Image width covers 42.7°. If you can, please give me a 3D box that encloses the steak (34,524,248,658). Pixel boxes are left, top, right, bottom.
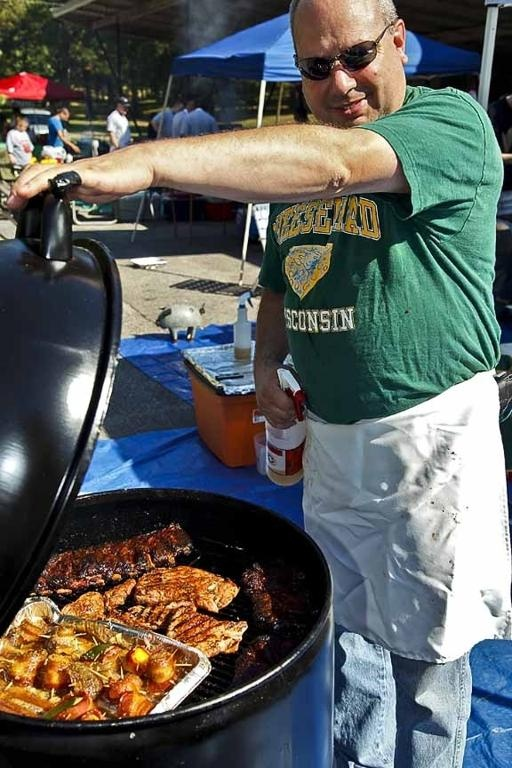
[{"bbox_3d":[-0.278,0.512,1.590,0.343,0.062,0.332,-9,26,-39],"label":"steak"}]

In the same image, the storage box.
[{"bbox_3d":[-0.125,0.080,3.644,0.422,0.426,0.614,-10,26,-18],"label":"storage box"}]

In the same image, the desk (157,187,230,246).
[{"bbox_3d":[-1.079,-2.899,12.602,1.431,1.622,1.266,-7,19,-20],"label":"desk"}]

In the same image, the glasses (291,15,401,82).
[{"bbox_3d":[0.183,-0.708,1.429,0.187,0.096,0.108,2,25,9],"label":"glasses"}]

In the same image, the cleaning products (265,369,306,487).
[{"bbox_3d":[0.090,0.138,1.810,0.113,0.311,0.143,-4,26,-12],"label":"cleaning products"}]
